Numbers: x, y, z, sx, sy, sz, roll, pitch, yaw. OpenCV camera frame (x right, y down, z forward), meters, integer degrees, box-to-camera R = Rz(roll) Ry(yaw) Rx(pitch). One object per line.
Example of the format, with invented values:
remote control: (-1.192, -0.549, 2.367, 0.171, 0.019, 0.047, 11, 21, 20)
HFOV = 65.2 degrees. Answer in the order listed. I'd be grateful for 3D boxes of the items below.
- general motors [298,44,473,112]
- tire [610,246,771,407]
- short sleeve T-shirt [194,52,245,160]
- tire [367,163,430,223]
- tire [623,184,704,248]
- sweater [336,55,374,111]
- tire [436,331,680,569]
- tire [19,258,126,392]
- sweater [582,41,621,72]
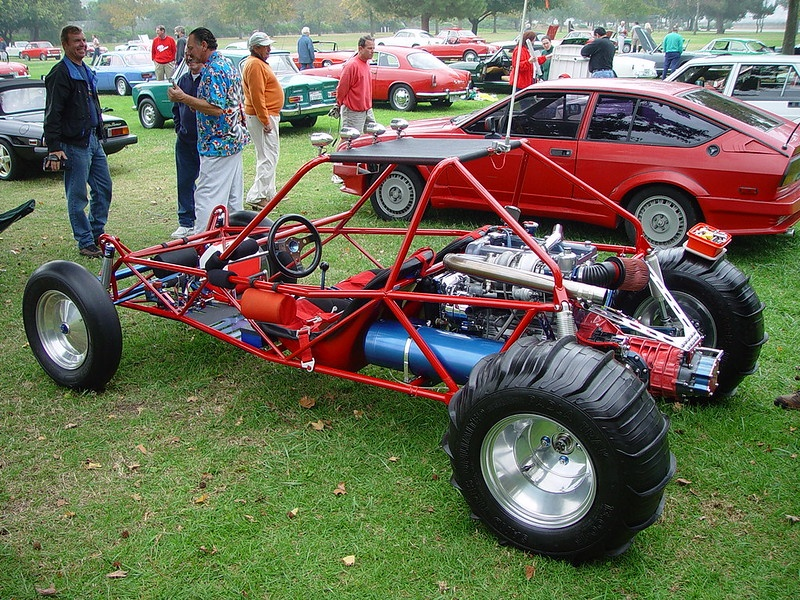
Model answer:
general motors: (-0.719, -5.634, 16.833, 4.943, 1.715, 2.237, 18, 31, 24)
tire: (1.887, 0.196, 4.135, 1.054, 1.138, 0.382, -2, 7, 28)
short sleeve T-shirt: (-1.893, -1.989, 6.504, 0.484, 0.945, 0.924, 5, 29, 2)
tire: (-0.002, -1.348, 8.086, 0.710, 0.750, 0.272, 9, 10, 31)
tire: (2.668, -0.851, 6.266, 0.714, 0.748, 0.279, -15, 8, 37)
sweater: (-0.658, -3.381, 9.824, 0.424, 0.771, 0.757, 24, 28, 33)
tire: (0.841, 0.875, 3.534, 1.190, 1.332, 0.451, 11, 24, 33)
tire: (-2.482, 0.234, 4.744, 0.855, 0.984, 0.252, -11, 11, 37)
sweater: (4.036, -4.988, 12.755, 0.621, 0.690, 0.651, 9, 23, 15)
